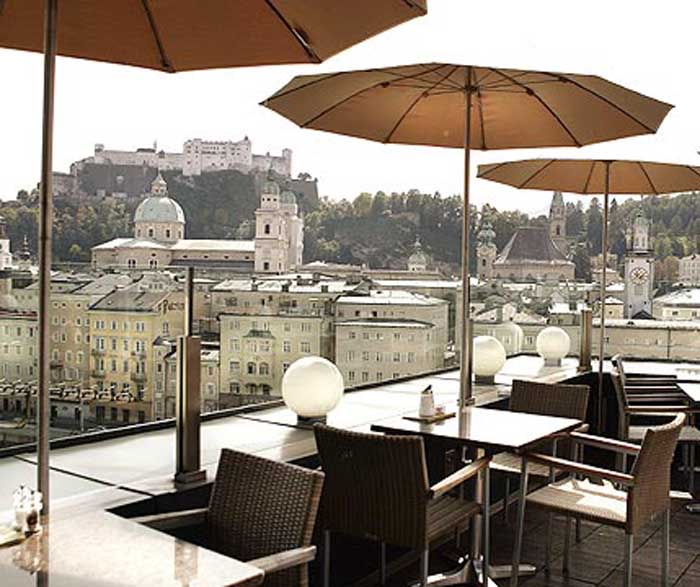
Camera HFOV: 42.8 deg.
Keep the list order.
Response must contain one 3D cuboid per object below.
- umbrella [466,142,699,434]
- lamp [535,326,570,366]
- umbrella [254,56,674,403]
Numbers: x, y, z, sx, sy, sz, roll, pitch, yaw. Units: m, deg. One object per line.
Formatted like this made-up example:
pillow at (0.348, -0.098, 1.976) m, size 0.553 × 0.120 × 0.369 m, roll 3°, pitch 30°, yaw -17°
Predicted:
umbrella at (1.593, 0.103, 6.854) m, size 1.719 × 2.089 × 1.914 m, roll 4°, pitch -3°, yaw -26°
lamp at (1.678, 0.425, 7.323) m, size 0.285 × 0.369 × 0.314 m, roll 3°, pitch -12°, yaw 2°
umbrella at (0.642, -0.486, 4.553) m, size 1.616 × 1.454 × 1.710 m, roll 3°, pitch 2°, yaw 28°
